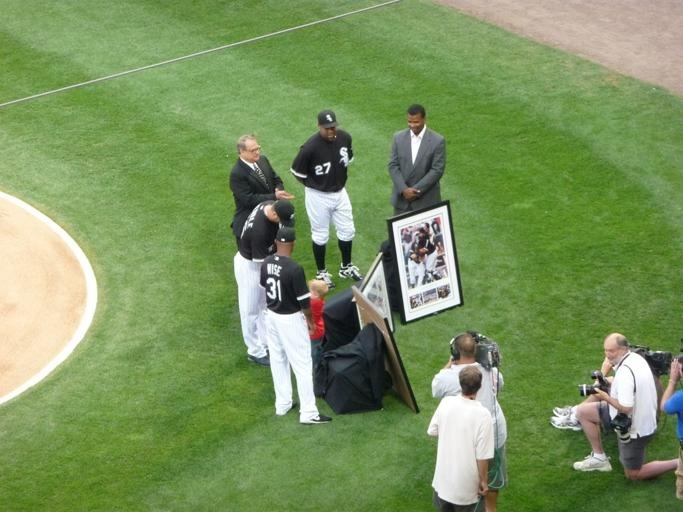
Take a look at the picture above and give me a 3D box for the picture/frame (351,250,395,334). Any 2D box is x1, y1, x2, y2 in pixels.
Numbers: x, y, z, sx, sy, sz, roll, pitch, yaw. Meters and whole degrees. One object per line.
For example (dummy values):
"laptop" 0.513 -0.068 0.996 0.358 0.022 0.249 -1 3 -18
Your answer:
"picture/frame" 0.498 0.592 17.419 0.422 0.959 1.025 -8 61 7

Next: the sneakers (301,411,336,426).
"sneakers" -0.350 2.399 16.756 0.500 0.209 0.171 -1 15 -7

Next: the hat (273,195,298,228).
"hat" -0.829 -0.651 16.794 0.408 0.229 0.299 51 49 -7

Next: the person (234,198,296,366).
"person" -1.227 0.307 17.569 0.931 2.502 0.856 5 22 -1

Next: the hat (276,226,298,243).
"hat" -0.794 -0.331 16.356 0.195 0.144 0.266 6 32 4

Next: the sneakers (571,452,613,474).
"sneakers" 3.582 2.920 16.034 0.543 0.240 0.237 1 8 3

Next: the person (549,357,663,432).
"person" 3.855 1.731 16.146 1.583 1.138 0.862 3 33 21

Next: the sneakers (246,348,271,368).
"sneakers" -1.293 1.578 17.693 0.451 0.185 0.170 9 37 14

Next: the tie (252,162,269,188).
"tie" -1.299 -1.274 17.637 0.112 0.072 0.428 -35 91 -23

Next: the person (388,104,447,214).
"person" 1.214 -1.550 18.273 0.903 1.774 0.764 4 36 5

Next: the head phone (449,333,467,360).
"head phone" 1.609 1.235 15.398 0.158 0.363 0.406 10 32 25

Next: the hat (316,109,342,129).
"hat" -0.248 -2.237 18.127 0.288 0.215 0.368 -12 44 -11

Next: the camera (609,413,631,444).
"camera" 3.926 2.366 15.694 0.315 0.453 0.179 10 37 13
